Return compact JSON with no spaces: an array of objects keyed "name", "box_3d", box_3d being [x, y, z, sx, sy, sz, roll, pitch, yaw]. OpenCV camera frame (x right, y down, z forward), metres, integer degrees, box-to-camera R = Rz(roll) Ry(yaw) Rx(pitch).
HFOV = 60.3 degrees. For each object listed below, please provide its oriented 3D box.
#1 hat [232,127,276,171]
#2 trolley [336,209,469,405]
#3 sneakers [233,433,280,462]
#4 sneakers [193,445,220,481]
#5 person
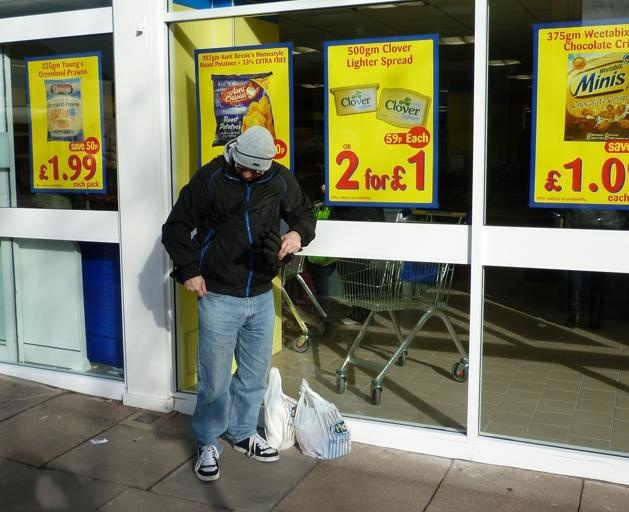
[{"name":"hat","box_3d":[-0.322,-0.626,3.048,0.266,0.234,0.379,10,22,-8]},{"name":"trolley","box_3d":[0.635,0.308,4.066,0.950,1.322,0.673,-4,2,-34]},{"name":"sneakers","box_3d":[-0.356,1.153,3.357,0.264,0.126,0.130,5,10,30]},{"name":"sneakers","box_3d":[-0.620,1.205,3.149,0.094,0.093,0.234,0,-3,-13]},{"name":"person","box_3d":[-0.450,0.288,3.164,0.835,2.031,0.700,3,10,-4]}]
